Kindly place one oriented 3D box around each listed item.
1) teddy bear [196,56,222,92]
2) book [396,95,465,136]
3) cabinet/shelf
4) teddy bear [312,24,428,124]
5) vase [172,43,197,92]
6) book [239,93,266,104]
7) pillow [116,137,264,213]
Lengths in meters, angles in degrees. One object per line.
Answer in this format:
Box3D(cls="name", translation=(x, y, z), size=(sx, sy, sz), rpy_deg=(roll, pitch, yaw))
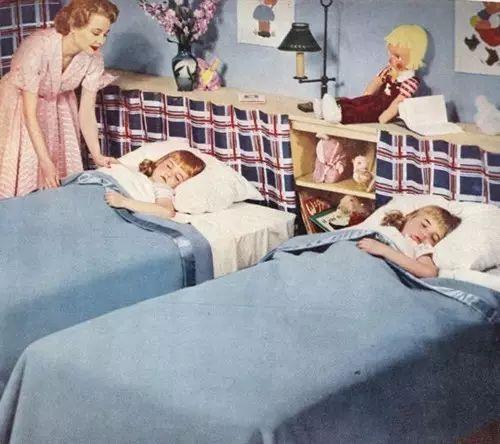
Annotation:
Box3D(cls="teddy bear", translation=(-0.256, -0.879, 2.855), size=(0.152, 0.184, 0.115), rpy_deg=(5, 15, 9))
Box3D(cls="book", translation=(0.779, -0.473, 2.104), size=(0.197, 0.101, 0.239), rpy_deg=(-12, 39, -7))
Box3D(cls="cabinet/shelf", translation=(0.419, -0.253, 2.378), size=(0.545, 0.461, 0.177), rpy_deg=(15, 30, 33))
Box3D(cls="teddy bear", translation=(0.589, -0.668, 2.240), size=(0.544, 0.366, 0.247), rpy_deg=(-15, 36, 6))
Box3D(cls="vase", translation=(-0.382, -0.904, 2.798), size=(0.128, 0.271, 0.097), rpy_deg=(12, 17, 31))
Box3D(cls="book", translation=(0.014, -0.672, 2.611), size=(0.152, 0.051, 0.107), rpy_deg=(4, 14, 9))
Box3D(cls="pillow", translation=(-0.305, -0.249, 2.469), size=(0.449, 0.154, 0.550), rpy_deg=(-22, 40, -34))
